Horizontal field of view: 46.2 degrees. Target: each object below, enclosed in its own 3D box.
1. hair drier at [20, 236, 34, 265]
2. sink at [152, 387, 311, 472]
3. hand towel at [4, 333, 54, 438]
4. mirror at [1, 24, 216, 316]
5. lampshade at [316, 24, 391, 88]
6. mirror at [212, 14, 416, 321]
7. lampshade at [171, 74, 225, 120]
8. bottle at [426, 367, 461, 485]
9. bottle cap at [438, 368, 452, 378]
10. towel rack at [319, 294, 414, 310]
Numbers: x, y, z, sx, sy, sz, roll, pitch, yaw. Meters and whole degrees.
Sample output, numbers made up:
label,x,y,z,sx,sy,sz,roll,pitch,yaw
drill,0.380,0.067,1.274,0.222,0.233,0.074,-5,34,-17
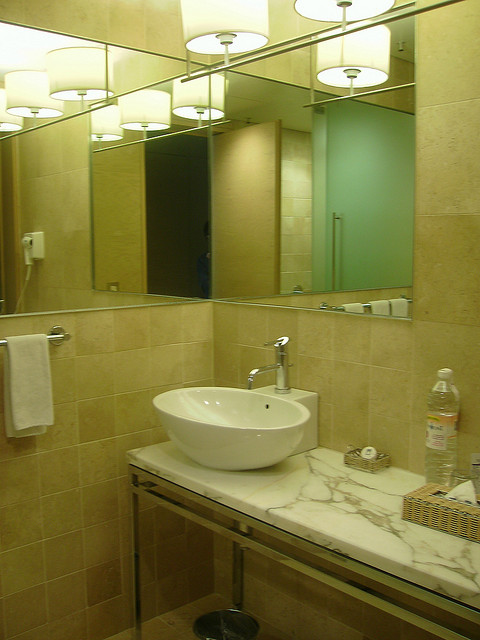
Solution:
label,x,y,z,sx,sy,sz,roll,pitch,yaw
hair drier,-0.650,-0.214,1.725,0.010,0.085,0.036,0,9,30
sink,-0.041,0.322,1.604,0.363,0.173,0.523,2,4,-27
hand towel,-0.638,0.203,1.671,0.144,0.318,0.102,-11,10,-40
mirror,-0.460,-0.517,1.873,0.018,1.044,1.125,4,7,43
lampshade,0.321,-0.704,1.573,0.235,0.166,0.142,7,17,30
mirror,0.237,-0.470,1.701,0.106,0.942,0.996,-5,6,-39
lampshade,-0.160,-0.832,2.163,0.211,0.138,0.201,1,-1,-4
bottle,0.497,0.250,1.381,0.083,0.282,0.175,-1,8,20
bottle cap,0.484,0.124,1.317,0.024,0.012,0.023,-1,5,-3
towel rack,0.368,-0.052,1.603,0.251,0.027,0.019,-9,-20,33
